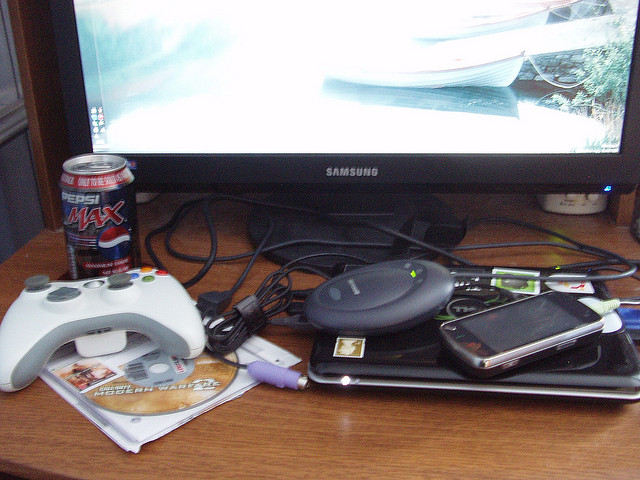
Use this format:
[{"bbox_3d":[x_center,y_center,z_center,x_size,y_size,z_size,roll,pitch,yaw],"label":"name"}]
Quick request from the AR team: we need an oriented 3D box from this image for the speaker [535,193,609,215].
[{"bbox_3d":[0.415,-0.061,0.898,0.100,0.052,0.029,-2,42,10],"label":"speaker"}]

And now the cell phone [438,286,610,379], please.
[{"bbox_3d":[0.212,0.099,0.584,0.187,0.022,0.075,-13,35,-14],"label":"cell phone"}]
